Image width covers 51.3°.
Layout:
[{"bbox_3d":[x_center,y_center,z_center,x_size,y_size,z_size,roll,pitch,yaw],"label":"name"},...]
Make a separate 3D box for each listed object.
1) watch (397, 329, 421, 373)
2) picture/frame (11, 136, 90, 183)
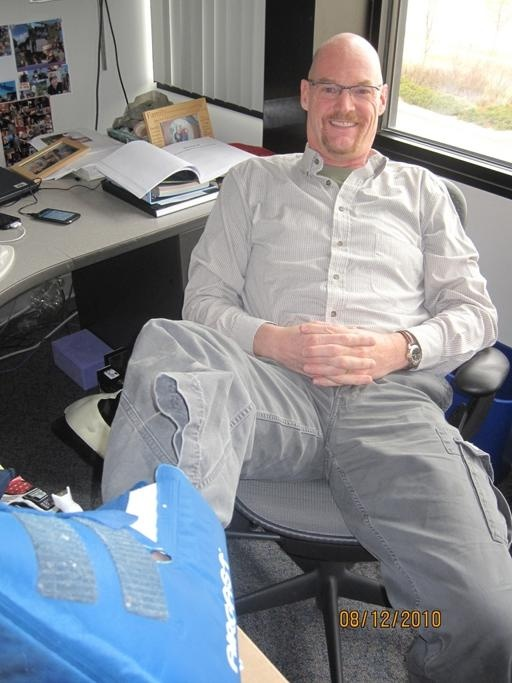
[{"bbox_3d":[0.351,0.018,1.204,0.052,0.078,0.078,-16,25,-26],"label":"watch"},{"bbox_3d":[-0.697,-0.644,1.889,0.250,0.048,0.176,-40,53,-22],"label":"picture/frame"}]
